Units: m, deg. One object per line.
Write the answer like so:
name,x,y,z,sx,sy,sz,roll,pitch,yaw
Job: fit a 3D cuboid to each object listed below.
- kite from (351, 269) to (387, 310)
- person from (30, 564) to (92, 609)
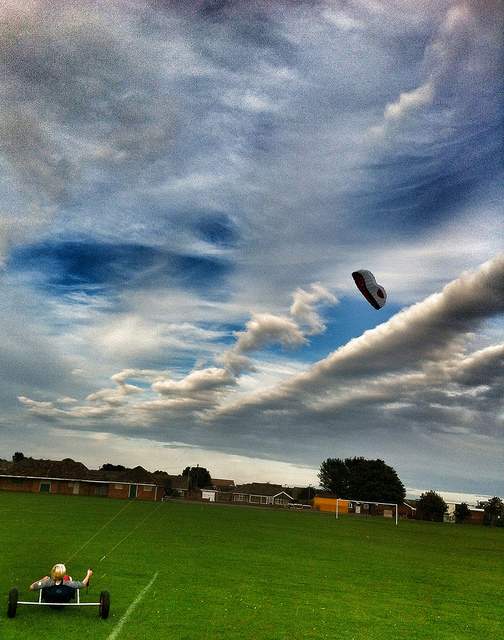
kite,7.456,-1.817,33.608,1.790,2.925,3.118,-2,-16,11
person,-3.563,5.032,9.977,0.878,0.902,1.195,5,-16,-11
